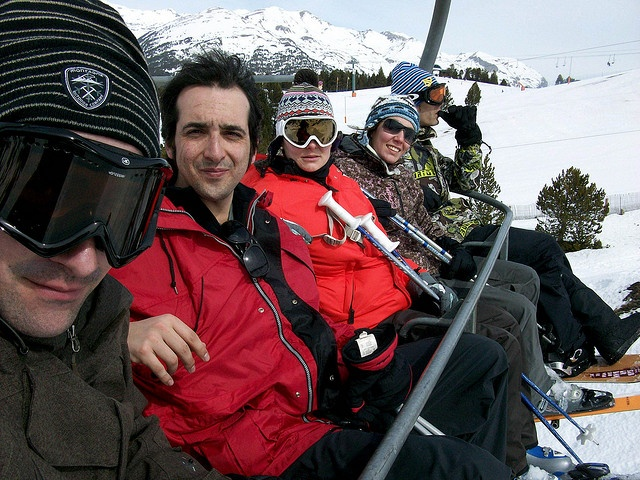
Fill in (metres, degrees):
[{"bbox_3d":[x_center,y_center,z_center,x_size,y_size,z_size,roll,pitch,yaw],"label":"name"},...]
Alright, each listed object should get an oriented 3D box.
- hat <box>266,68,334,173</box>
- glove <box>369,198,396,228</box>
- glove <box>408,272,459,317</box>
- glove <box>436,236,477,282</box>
[{"bbox_3d":[-0.134,-0.793,3.436,0.415,0.578,0.564,1,30,-8],"label":"hat"},{"bbox_3d":[0.457,-0.206,3.665,0.185,0.077,0.182,55,20,7],"label":"glove"},{"bbox_3d":[0.745,0.388,3.332,0.340,0.223,0.238,44,10,18],"label":"glove"},{"bbox_3d":[1.017,0.169,3.816,0.318,0.238,0.120,42,-16,-13],"label":"glove"}]
